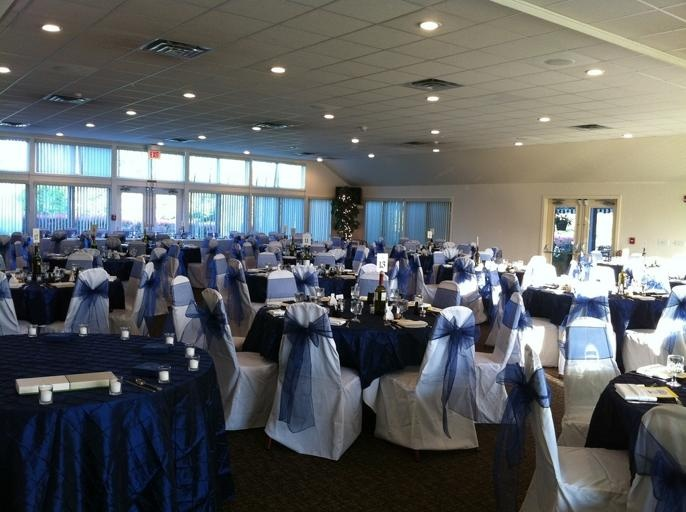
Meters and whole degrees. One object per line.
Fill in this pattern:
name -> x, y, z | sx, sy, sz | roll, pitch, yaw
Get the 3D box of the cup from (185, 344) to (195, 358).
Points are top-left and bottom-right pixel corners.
cup -> -1.062, 0.663, 3.334 | 0.064, 0.080, 0.066 | 3, 1, 0

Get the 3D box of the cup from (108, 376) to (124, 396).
cup -> -1.257, 0.731, 2.670 | 0.078, 0.092, 0.072 | 1, 0, 0

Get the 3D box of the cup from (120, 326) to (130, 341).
cup -> -1.694, 0.612, 3.754 | 0.087, 0.111, 0.089 | 2, 0, 0

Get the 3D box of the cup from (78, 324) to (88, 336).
cup -> -2.037, 0.590, 3.771 | 0.077, 0.095, 0.093 | 1, -3, -1

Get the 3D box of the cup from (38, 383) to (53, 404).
cup -> -1.556, 0.725, 2.525 | 0.078, 0.098, 0.079 | 2, 1, 0

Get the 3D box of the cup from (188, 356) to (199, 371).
cup -> -0.963, 0.705, 3.120 | 0.064, 0.076, 0.064 | 3, -2, 0

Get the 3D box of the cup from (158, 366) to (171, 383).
cup -> -1.066, 0.717, 2.895 | 0.071, 0.090, 0.073 | 1, 6, 0
